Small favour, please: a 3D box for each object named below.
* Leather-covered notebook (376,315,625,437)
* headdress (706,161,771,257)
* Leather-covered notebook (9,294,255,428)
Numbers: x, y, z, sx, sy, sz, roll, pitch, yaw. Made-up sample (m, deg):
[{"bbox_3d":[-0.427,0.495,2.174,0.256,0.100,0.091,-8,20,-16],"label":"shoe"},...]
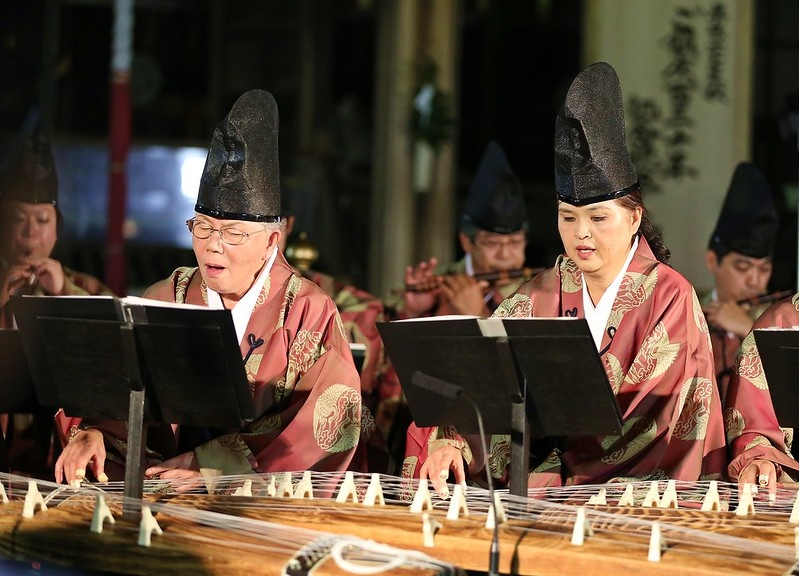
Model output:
[{"bbox_3d":[0.366,0.332,4.785,0.909,0.462,0.168,1,3,20],"label":"Leather-covered notebook"},{"bbox_3d":[1.951,-0.458,7.332,0.293,0.509,0.347,4,10,19],"label":"headdress"},{"bbox_3d":[-1.010,0.308,4.847,0.940,0.516,0.095,3,31,10],"label":"Leather-covered notebook"}]
